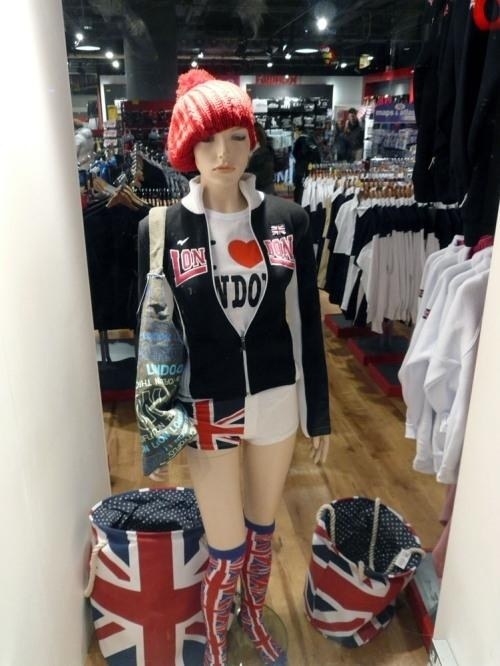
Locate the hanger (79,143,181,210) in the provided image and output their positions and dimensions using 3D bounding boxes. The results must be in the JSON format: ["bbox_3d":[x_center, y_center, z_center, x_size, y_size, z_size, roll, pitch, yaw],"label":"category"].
[{"bbox_3d":[-0.539,-0.712,2.173,0.307,0.135,0.420,1,25,-1],"label":"hanger"}]

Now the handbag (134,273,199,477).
[{"bbox_3d":[-0.183,0.089,0.950,0.116,0.404,0.172,-6,20,-11],"label":"handbag"}]

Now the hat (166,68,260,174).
[{"bbox_3d":[-0.090,-0.423,0.909,0.158,0.213,0.212,-8,30,-11],"label":"hat"}]
